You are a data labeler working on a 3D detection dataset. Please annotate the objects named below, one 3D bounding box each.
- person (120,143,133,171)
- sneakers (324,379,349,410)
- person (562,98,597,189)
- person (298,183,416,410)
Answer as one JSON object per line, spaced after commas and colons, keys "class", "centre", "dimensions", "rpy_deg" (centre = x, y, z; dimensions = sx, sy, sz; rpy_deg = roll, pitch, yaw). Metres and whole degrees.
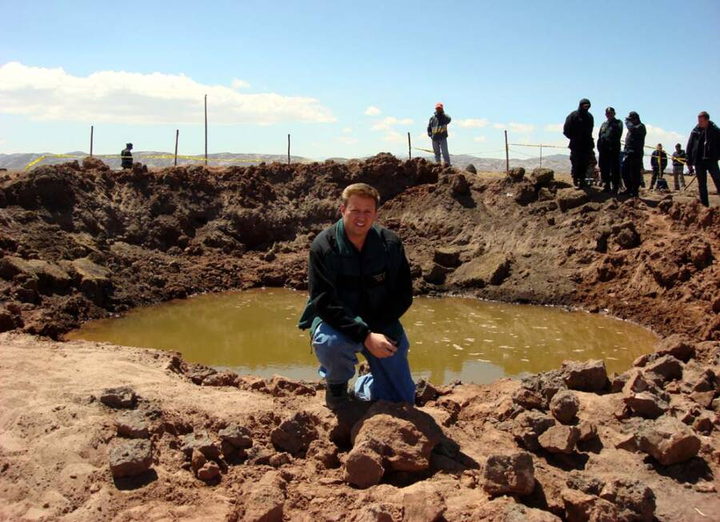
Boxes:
{"class": "person", "centre": [-6.477, -2.861, 16.753], "dimensions": [0.287, 0.638, 1.250], "rpy_deg": [-4, 9, -21]}
{"class": "sneakers", "centre": [-0.226, 1.277, 5.807], "dimensions": [0.259, 0.278, 0.642], "rpy_deg": [1, -6, -5]}
{"class": "person", "centre": [4.805, -2.515, 13.325], "dimensions": [0.606, 1.859, 1.309], "rpy_deg": [3, 10, 21]}
{"class": "person", "centre": [-0.041, 0.355, 5.750], "dimensions": [1.094, 2.146, 0.699], "rpy_deg": [0, 9, 3]}
